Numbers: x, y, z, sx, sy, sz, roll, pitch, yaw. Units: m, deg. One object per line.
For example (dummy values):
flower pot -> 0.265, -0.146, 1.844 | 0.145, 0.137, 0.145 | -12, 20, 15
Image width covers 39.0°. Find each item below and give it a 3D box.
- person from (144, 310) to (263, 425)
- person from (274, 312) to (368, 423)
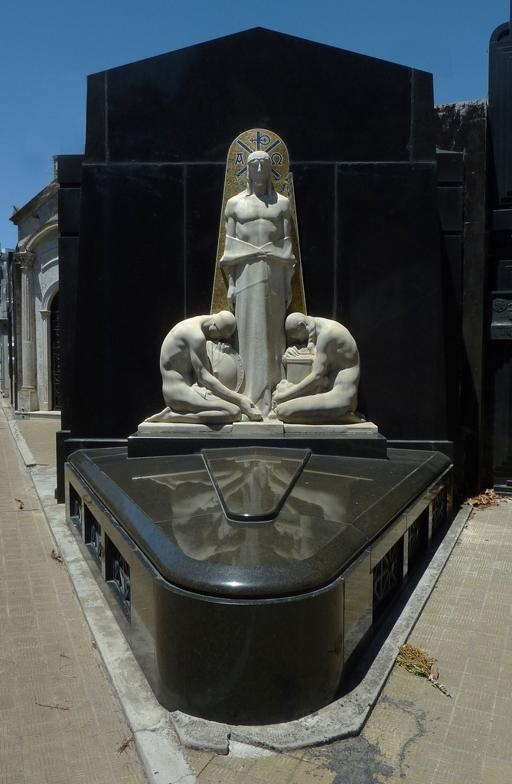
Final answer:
person -> -0.438, -0.193, 6.391 | 0.961, 1.106, 0.834 | 3, -6, -16
person -> 0.548, -0.208, 6.511 | 0.746, 1.051, 0.836 | 0, -5, 0
